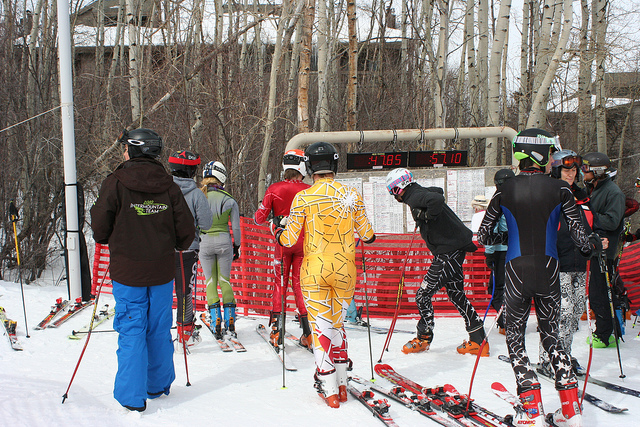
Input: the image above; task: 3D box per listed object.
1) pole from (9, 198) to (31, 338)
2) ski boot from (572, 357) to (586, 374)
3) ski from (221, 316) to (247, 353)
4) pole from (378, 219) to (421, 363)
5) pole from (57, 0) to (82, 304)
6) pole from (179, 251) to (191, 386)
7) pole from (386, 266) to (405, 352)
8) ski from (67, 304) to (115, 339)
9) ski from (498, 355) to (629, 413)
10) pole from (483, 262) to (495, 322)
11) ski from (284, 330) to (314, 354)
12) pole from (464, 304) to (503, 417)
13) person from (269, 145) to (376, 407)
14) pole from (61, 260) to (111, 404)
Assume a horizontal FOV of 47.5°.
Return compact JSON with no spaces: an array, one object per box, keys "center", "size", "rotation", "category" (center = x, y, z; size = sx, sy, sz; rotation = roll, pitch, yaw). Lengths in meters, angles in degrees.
[{"center":[-7.318,1.319,17.797],"size":[0.266,2.949,0.345],"rotation":[-2,4,-6],"category":"pole"},{"center":[4.724,2.848,13.351],"size":[0.157,0.193,0.341],"rotation":[-9,48,-2],"category":"ski boot"},{"center":[-1.750,2.420,14.557],"size":[0.239,0.259,1.174],"rotation":[-2,19,-23],"category":"ski"},{"center":[1.688,1.792,15.545],"size":[0.284,2.787,0.109],"rotation":[12,10,6],"category":"pole"},{"center":[-5.505,-1.383,16.065],"size":[0.336,6.795,0.584],"rotation":[-2,6,-27],"category":"pole"},{"center":[-2.542,1.941,13.672],"size":[0.118,0.134,2.861],"rotation":[-11,39,-7],"category":"pole"},{"center":[1.581,2.105,15.344],"size":[0.180,1.763,0.070],"rotation":[6,11,18],"category":"pole"},{"center":[-4.728,2.295,15.018],"size":[0.263,0.286,1.845],"rotation":[18,21,6],"category":"ski"},{"center":[4.136,3.015,12.496],"size":[0.255,0.145,2.338],"rotation":[-5,24,-43],"category":"ski"},{"center":[3.569,1.685,15.479],"size":[0.140,1.411,0.139],"rotation":[10,-9,-19],"category":"pole"},{"center":[-0.457,2.673,14.461],"size":[0.217,0.081,1.588],"rotation":[-9,12,-16],"category":"ski"},{"center":[2.967,2.804,13.344],"size":[0.252,1.820,0.199],"rotation":[11,4,-25],"category":"pole"},{"center":[0.118,1.057,12.565],"size":[1.497,4.522,0.775],"rotation":[1,5,3],"category":"person"},{"center":[-4.643,2.434,14.416],"size":[0.162,2.640,0.168],"rotation":[23,-23,-23],"category":"pole"}]
